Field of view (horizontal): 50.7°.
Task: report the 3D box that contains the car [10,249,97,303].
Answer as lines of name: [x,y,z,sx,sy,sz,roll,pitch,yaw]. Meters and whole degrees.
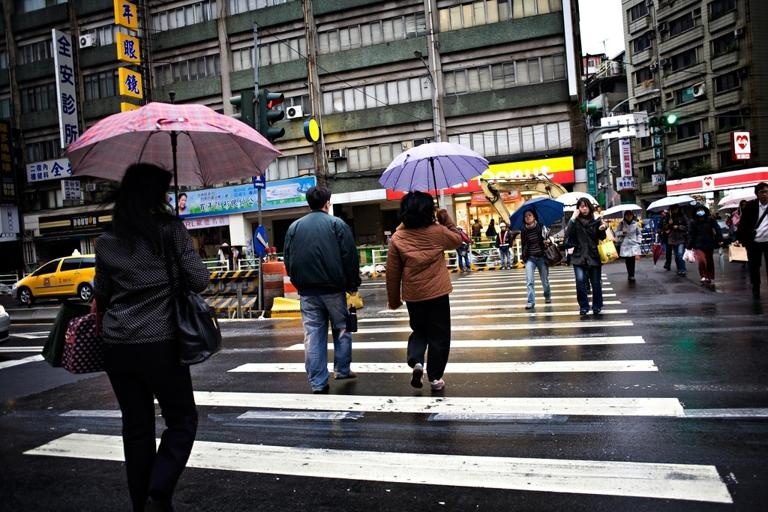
car: [-13.263,0.801,32.312,3.380,1.958,2.092,0,-2,16]

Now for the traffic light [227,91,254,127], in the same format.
traffic light: [-3.428,-3.457,19.610,0.499,1.025,0.282,-3,-16,-6]

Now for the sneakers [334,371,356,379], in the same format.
sneakers: [-0.676,2.089,14.388,0.344,0.164,0.144,-2,1,-9]

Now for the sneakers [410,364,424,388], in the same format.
sneakers: [0.536,2.014,13.480,0.164,0.432,0.179,1,24,3]

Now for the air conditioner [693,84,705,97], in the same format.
air conditioner: [20.144,-10.551,51.717,0.438,0.840,0.841,0,1,-11]

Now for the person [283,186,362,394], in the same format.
person: [-1.031,0.577,13.784,1.160,3.439,0.517,-3,4,-7]

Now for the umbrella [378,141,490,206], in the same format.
umbrella: [0.875,-1.591,14.745,1.229,0.466,1.339,-14,-6,6]

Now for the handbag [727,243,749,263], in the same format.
handbag: [8.778,-0.080,20.029,0.444,0.721,0.246,6,-26,17]

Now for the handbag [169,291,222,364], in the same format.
handbag: [-2.509,0.970,11.126,0.418,0.981,0.946,-13,-2,5]

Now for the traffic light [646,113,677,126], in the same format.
traffic light: [10.569,-5.121,30.397,1.259,0.514,1.281,3,4,21]
